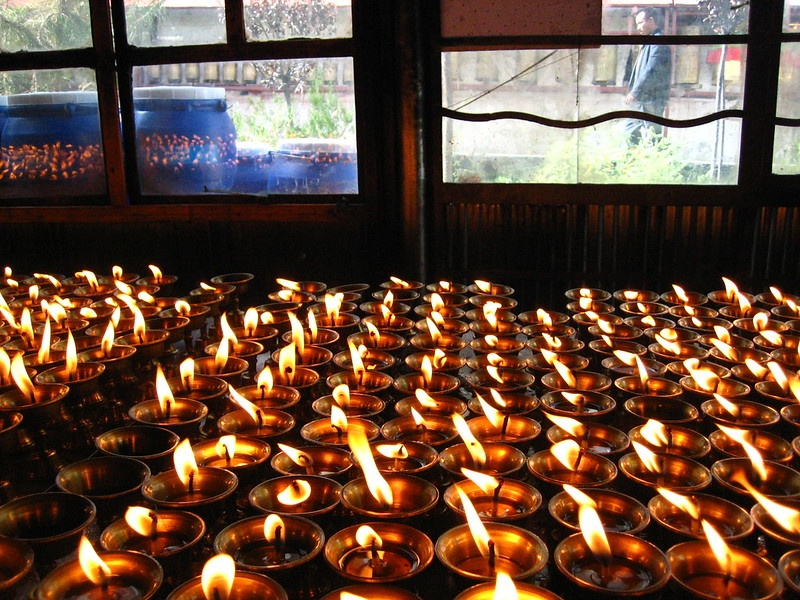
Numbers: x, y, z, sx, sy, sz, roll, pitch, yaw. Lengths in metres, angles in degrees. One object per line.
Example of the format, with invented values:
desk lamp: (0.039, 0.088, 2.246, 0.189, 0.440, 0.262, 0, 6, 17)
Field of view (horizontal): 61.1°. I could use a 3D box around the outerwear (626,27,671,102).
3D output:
outerwear: (1.829, -1.682, 4.929, 0.268, 0.432, 0.458, 7, 26, 9)
